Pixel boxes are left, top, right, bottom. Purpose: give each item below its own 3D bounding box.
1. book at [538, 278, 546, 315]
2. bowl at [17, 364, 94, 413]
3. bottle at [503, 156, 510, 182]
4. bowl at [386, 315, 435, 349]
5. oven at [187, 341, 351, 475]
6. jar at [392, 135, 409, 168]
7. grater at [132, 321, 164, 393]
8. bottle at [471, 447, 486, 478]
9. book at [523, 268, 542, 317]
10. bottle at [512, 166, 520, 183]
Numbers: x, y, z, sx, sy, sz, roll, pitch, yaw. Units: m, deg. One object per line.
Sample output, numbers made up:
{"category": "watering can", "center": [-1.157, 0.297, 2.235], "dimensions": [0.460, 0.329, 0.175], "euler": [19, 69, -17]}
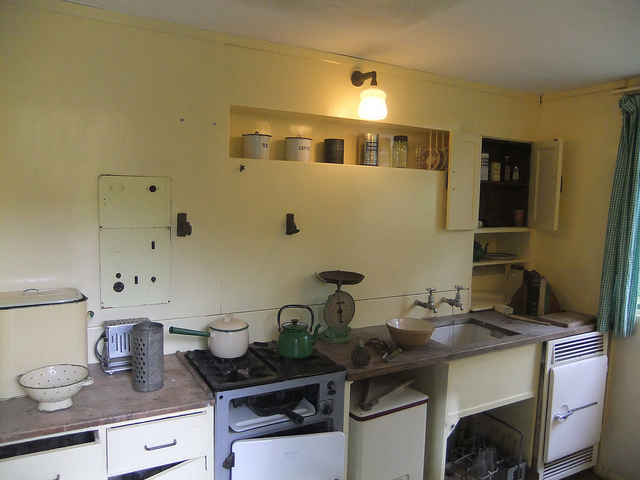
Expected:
{"category": "book", "center": [1.695, 0.429, 3.912], "dimensions": [0.074, 0.268, 0.028], "euler": [-4, 7, -17]}
{"category": "bowl", "center": [-1.295, 0.721, 2.525], "dimensions": [0.313, 0.173, 0.253], "euler": [-6, 8, -33]}
{"category": "bottle", "center": [1.541, -0.593, 4.231], "dimensions": [0.048, 0.200, 0.157], "euler": [1, 7, 19]}
{"category": "bowl", "center": [0.579, 0.601, 3.299], "dimensions": [0.297, 0.155, 0.300], "euler": [2, 5, 0]}
{"category": "oven", "center": [-0.313, 0.773, 2.850], "dimensions": [0.652, 0.566, 0.561], "euler": [-2, 6, -27]}
{"category": "jar", "center": [0.583, -0.639, 3.721], "dimensions": [0.100, 0.223, 0.093], "euler": [-2, 7, 0]}
{"category": "grater", "center": [-0.888, 0.615, 2.655], "dimensions": [0.158, 0.323, 0.069], "euler": [-4, 7, -21]}
{"category": "bottle", "center": [1.122, 1.531, 3.556], "dimensions": [0.106, 0.146, 0.170], "euler": [5, 9, 44]}
{"category": "book", "center": [1.630, 0.402, 3.941], "dimensions": [0.129, 0.327, 0.094], "euler": [1, 7, 25]}
{"category": "bottle", "center": [1.600, -0.541, 4.192], "dimensions": [0.048, 0.127, 0.109], "euler": [2, 8, 29]}
